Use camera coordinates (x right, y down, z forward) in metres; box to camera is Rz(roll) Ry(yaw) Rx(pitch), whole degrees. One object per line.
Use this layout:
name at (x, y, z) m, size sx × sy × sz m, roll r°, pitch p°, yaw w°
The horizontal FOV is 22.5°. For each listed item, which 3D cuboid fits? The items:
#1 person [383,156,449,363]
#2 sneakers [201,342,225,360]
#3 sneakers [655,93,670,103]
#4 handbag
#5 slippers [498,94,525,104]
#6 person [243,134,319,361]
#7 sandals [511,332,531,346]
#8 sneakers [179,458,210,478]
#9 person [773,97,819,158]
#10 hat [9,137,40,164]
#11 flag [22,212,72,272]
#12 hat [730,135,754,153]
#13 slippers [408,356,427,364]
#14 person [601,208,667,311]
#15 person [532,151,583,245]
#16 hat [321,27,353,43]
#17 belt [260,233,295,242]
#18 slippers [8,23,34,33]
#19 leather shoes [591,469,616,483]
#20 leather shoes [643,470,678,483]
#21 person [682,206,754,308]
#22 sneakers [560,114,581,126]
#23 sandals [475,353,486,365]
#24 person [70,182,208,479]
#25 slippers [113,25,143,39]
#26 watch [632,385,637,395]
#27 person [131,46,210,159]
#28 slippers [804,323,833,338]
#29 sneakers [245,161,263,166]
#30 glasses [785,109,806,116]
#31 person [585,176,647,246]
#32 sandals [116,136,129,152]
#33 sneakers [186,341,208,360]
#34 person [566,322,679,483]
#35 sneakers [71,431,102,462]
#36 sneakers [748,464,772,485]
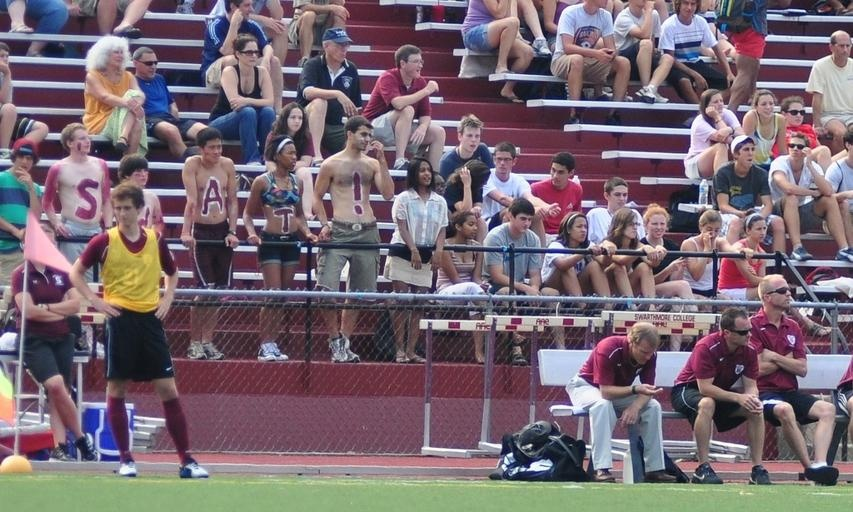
person at (-0.126, 0.044, 32.200) m, size 0.926 × 3.107 × 0.812 m, roll -1°, pitch -2°, yaw -16°
sneakers at (-3.156, 1.421, 31.658) m, size 0.373 × 0.162 × 0.172 m, roll 2°, pitch 0°, yaw 15°
sneakers at (3.943, -2.678, 36.004) m, size 0.191 × 0.176 × 0.440 m, roll -2°, pitch -2°, yaw 12°
handbag at (1.634, 2.784, 30.120) m, size 0.864 × 0.569 × 1.085 m, roll 1°, pitch 0°, yaw 6°
slippers at (1.462, -2.650, 36.007) m, size 0.366 × 0.100 × 0.152 m, roll 14°, pitch 17°, yaw 34°
person at (-2.198, -0.123, 32.058) m, size 0.924 × 3.393 × 1.009 m, roll -3°, pitch -3°, yaw 33°
sandals at (1.423, 1.233, 32.153) m, size 0.195 × 0.178 × 0.428 m, roll -3°, pitch -3°, yaw 33°
sneakers at (-3.179, 2.961, 29.481) m, size 0.473 × 0.204 × 0.186 m, roll -5°, pitch -5°, yaw 34°
person at (5.995, -2.089, 34.920) m, size 1.042 × 0.930 × 0.576 m, roll -4°, pitch 9°, yaw -34°
hat at (-5.999, -1.607, 32.131) m, size 0.360 × 0.409 × 0.570 m, roll -1°, pitch -2°, yaw -13°
flag at (-5.410, -0.174, 30.560) m, size 0.763 × 0.734 × 0.035 m, roll 16°, pitch -24°, yaw -34°
hat at (4.914, -1.786, 33.769) m, size 0.443 × 0.267 × 0.214 m, roll -3°, pitch -3°, yaw 44°
slippers at (-0.146, 1.538, 31.933) m, size 0.235 × 0.127 × 0.216 m, roll -1°, pitch -2°, yaw 3°
person at (3.072, 0.039, 32.247) m, size 0.865 × 1.534 × 0.694 m, roll -1°, pitch -2°, yaw 5°
person at (2.011, -0.847, 33.296) m, size 0.806 × 1.515 × 1.019 m, roll -1°, pitch -3°, yaw 38°
hat at (-1.471, -3.560, 34.383) m, size 0.377 × 0.195 × 0.281 m, roll 3°, pitch 6°, yaw 33°
belt at (-2.195, -0.294, 32.056) m, size 0.548 × 0.157 × 0.288 m, roll -1°, pitch -2°, yaw -5°
slippers at (-6.742, -3.835, 35.762) m, size 0.397 × 0.160 × 0.154 m, roll -1°, pitch 4°, yaw 12°
leather shoes at (2.468, 3.100, 30.032) m, size 0.145 × 0.143 × 0.333 m, roll 7°, pitch -12°, yaw -41°
leather shoes at (3.265, 3.118, 30.136) m, size 0.512 × 0.205 × 0.173 m, roll -1°, pitch -2°, yaw 1°
person at (4.301, 0.116, 32.771) m, size 0.985 × 1.491 × 1.166 m, roll -8°, pitch 20°, yaw -29°
sneakers at (2.431, -2.298, 35.782) m, size 0.210 × 0.146 × 0.198 m, roll 2°, pitch 5°, yaw 27°
sandals at (0.769, 1.501, 31.935) m, size 0.098 × 0.225 × 0.277 m, roll 0°, pitch -3°, yaw -29°
person at (-3.993, 1.024, 29.475) m, size 1.541 × 4.081 × 0.447 m, roll -1°, pitch -2°, yaw -10°
slippers at (-4.961, -3.767, 35.773) m, size 0.456 × 0.191 × 0.202 m, roll 0°, pitch -8°, yaw -11°
watch at (2.918, 1.886, 30.213) m, size 0.048 × 0.100 × 0.077 m, roll -9°, pitch -8°, yaw 20°
person at (-4.027, -2.447, 34.141) m, size 0.861 × 1.388 × 1.880 m, roll -23°, pitch 36°, yaw -34°
slippers at (5.843, 1.113, 32.032) m, size 0.402 × 0.288 × 0.142 m, roll -7°, pitch 9°, yaw 1°
sneakers at (-2.729, -1.478, 33.958) m, size 0.257 × 0.109 × 0.088 m, roll 2°, pitch -2°, yaw 1°
glasses at (6.025, -2.373, 35.043) m, size 0.331 × 0.119 × 0.148 m, roll 0°, pitch -2°, yaw -27°
person at (2.915, -0.673, 33.323) m, size 1.071 × 1.530 × 0.528 m, roll 1°, pitch -7°, yaw -13°
sandals at (-4.796, -1.798, 33.910) m, size 0.151 × 0.302 × 0.213 m, roll -2°, pitch -3°, yaw 32°
sneakers at (-3.386, 1.407, 31.657) m, size 0.283 × 0.243 × 0.192 m, roll 10°, pitch -4°, yaw 5°
person at (2.749, 2.076, 30.222) m, size 1.364 × 2.246 × 0.643 m, roll -1°, pitch -2°, yaw 6°
sneakers at (-4.799, 2.734, 30.421) m, size 0.181 × 0.540 × 0.228 m, roll -26°, pitch 10°, yaw 1°
sneakers at (4.683, 3.087, 30.198) m, size 0.279 × 0.259 × 0.164 m, roll -1°, pitch -2°, yaw 9°
